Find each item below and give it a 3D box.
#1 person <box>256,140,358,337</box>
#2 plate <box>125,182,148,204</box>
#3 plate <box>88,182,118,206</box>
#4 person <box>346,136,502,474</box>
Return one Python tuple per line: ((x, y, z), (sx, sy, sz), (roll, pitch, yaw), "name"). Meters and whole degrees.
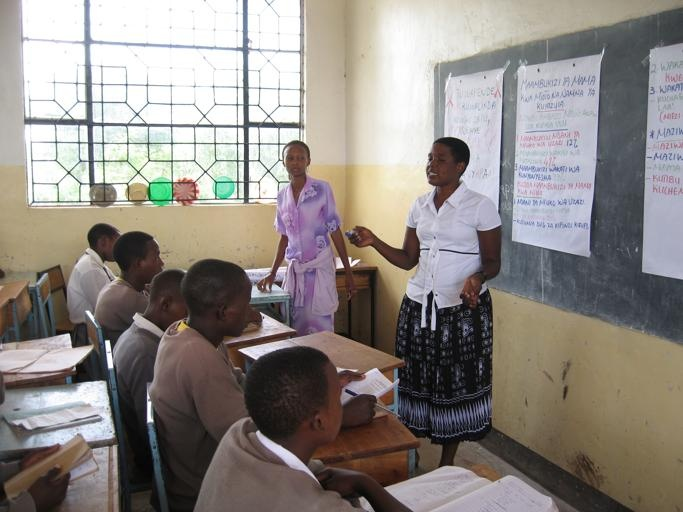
((-0.242, 0.092, 3.932), (0.645, 1.753, 0.466), (0, 17, 12), "person")
((-1.732, -0.525, 4.740), (0.153, 0.168, 0.128), (-8, 43, -1), "plate")
((-1.990, -0.513, 4.677), (0.213, 0.186, 0.100), (-9, 13, -23), "plate")
((0.442, 0.288, 2.882), (0.665, 1.778, 0.553), (4, 13, 25), "person")
